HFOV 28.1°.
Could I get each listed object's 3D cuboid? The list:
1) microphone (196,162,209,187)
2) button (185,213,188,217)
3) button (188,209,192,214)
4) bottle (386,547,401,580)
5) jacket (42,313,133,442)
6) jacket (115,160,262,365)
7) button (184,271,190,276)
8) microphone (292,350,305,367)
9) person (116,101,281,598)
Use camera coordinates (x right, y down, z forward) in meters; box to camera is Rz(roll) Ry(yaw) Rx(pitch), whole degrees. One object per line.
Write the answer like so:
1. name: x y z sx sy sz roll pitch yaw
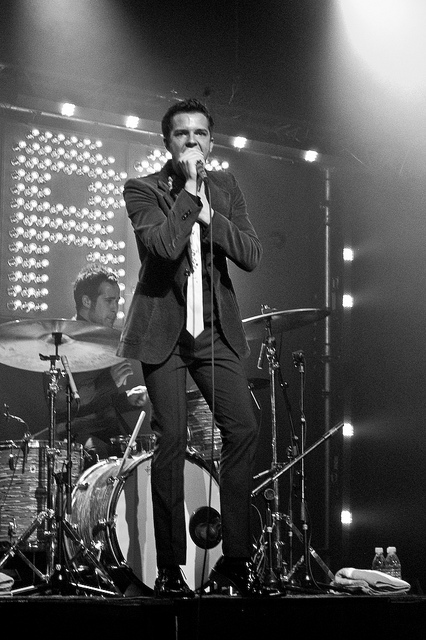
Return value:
1. microphone: -0.027 -0.413 2.433 0.014 0.016 0.089 30 18 -23
2. button: -0.075 -0.297 2.390 0.009 0.008 0.002 13 19 17
3. button: -0.065 -0.307 2.395 0.009 0.011 0.002 3 -8 -16
4. bottle: 0.815 1.092 3.825 0.064 0.165 0.369 -1 -9 12
5. jacket: -0.634 0.251 4.213 0.370 0.632 0.331 -2 1 -35
6. jacket: -0.064 -0.195 2.611 0.433 0.683 0.343 8 -11 -44
7. button: -0.075 -0.136 2.519 0.017 0.009 0.008 8 -11 -44
8. microphone: 0.412 0.175 3.982 0.059 0.104 0.031 -1 3 -5
9. person: -0.021 0.040 2.496 0.439 1.481 0.515 6 -10 -33
